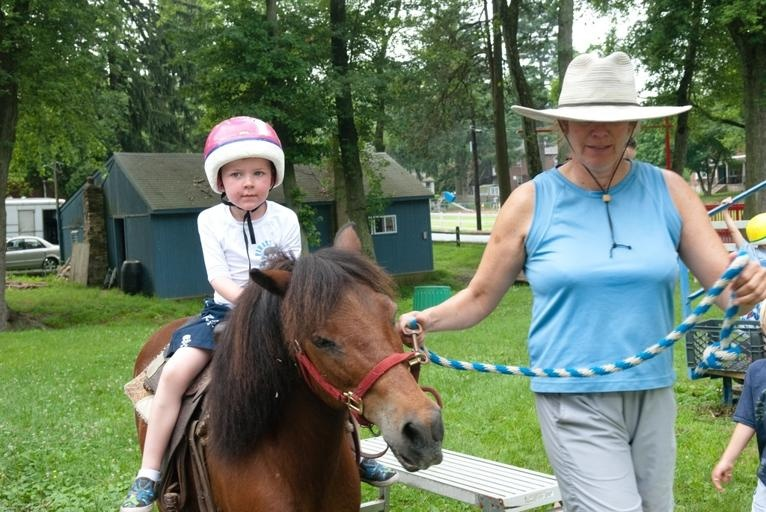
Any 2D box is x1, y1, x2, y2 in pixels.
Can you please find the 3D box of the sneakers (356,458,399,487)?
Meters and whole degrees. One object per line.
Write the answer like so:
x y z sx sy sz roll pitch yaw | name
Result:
-0.079 2.067 7.162 0.494 0.234 0.187 1 3 32 | sneakers

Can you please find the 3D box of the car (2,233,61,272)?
-15.259 -0.167 32.194 2.933 1.124 1.303 2 -2 -22 | car
